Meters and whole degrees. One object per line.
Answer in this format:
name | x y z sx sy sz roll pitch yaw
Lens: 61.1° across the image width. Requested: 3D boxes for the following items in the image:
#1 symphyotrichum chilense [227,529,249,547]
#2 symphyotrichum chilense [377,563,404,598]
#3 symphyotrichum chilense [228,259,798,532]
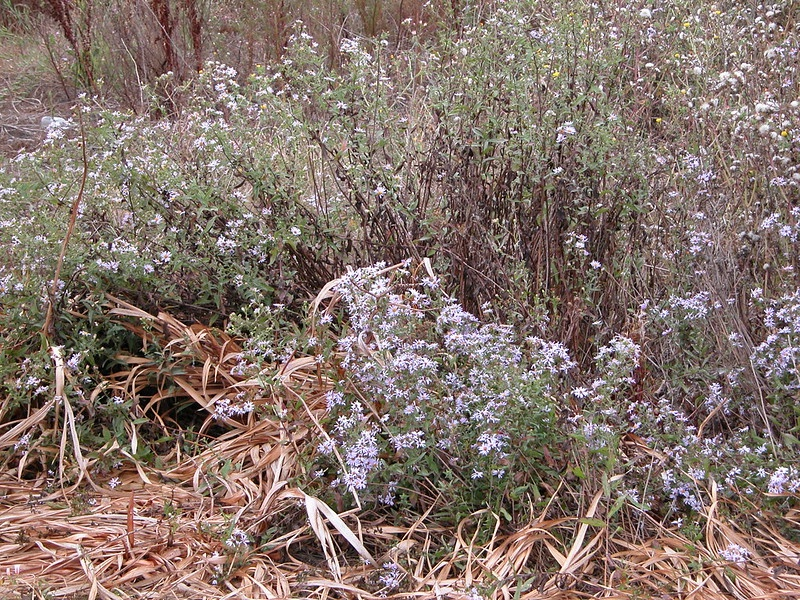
symphyotrichum chilense | -0.543 0.804 2.281 0.061 0.022 0.058 35 22 11
symphyotrichum chilense | -0.038 0.907 2.211 0.079 0.052 0.094 12 34 24
symphyotrichum chilense | 0.376 0.491 2.526 1.749 0.650 1.055 -7 26 -7
